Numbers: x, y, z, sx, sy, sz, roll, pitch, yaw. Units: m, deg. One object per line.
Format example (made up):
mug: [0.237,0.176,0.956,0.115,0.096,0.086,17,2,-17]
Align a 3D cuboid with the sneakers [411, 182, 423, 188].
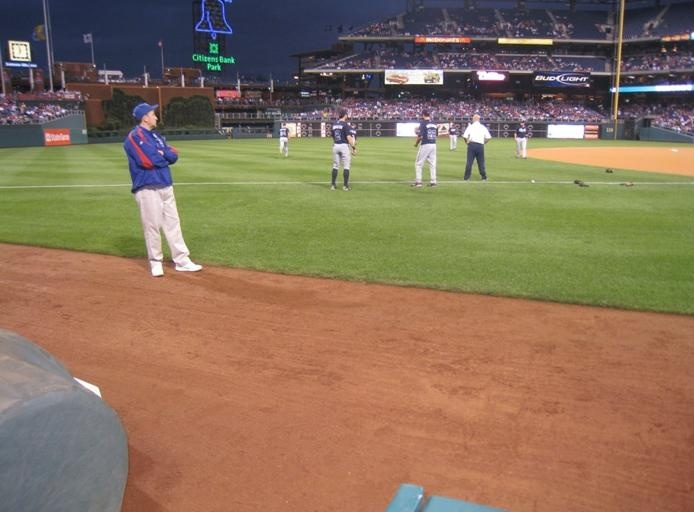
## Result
sneakers: [1.861,-1.891,15.943,0.258,0.129,0.114,4,10,35]

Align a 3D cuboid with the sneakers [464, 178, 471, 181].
sneakers: [3.404,-2.198,17.074,0.146,0.115,0.089,-5,12,-10]

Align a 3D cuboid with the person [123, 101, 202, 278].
person: [-2.502,-0.867,7.998,0.745,2.217,0.535,-6,15,-21]

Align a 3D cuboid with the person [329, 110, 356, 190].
person: [-0.082,-2.672,14.981,0.627,1.933,0.610,3,8,20]

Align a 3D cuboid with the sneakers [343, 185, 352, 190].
sneakers: [0.002,-1.730,15.193,0.081,0.164,0.256,6,16,26]

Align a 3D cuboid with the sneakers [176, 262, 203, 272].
sneakers: [-2.176,0.154,8.276,0.276,0.121,0.156,-1,6,-3]
